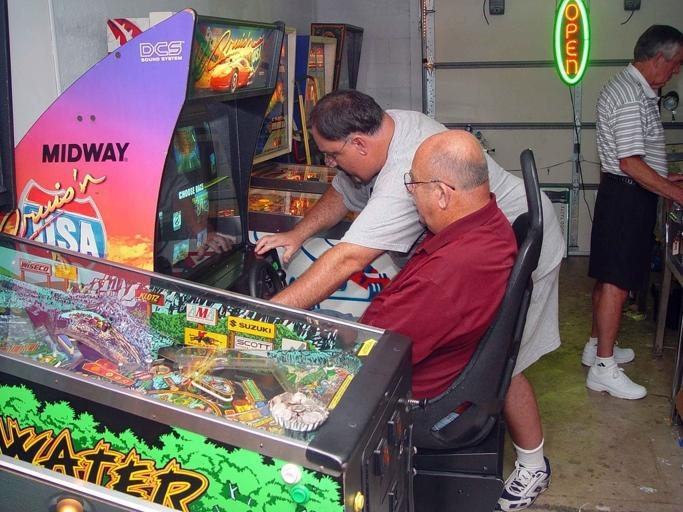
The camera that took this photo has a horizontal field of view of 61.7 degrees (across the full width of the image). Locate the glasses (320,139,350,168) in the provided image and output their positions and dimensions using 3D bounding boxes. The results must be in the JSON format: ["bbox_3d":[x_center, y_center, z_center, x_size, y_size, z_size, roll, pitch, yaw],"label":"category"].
[{"bbox_3d":[-0.027,-0.407,2.272,0.023,0.094,0.085,17,17,28],"label":"glasses"}]

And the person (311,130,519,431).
[{"bbox_3d":[0.328,0.034,1.911,0.523,0.896,0.318,-6,9,-31],"label":"person"}]

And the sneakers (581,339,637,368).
[{"bbox_3d":[1.676,0.621,3.596,0.268,0.183,0.117,-8,31,-3],"label":"sneakers"}]

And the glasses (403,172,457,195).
[{"bbox_3d":[0.287,-0.250,1.935,0.100,0.035,0.102,9,17,17],"label":"glasses"}]

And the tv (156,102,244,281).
[{"bbox_3d":[-0.703,-0.300,2.521,0.220,0.705,0.726,5,12,12],"label":"tv"}]

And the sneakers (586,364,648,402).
[{"bbox_3d":[1.610,0.735,3.357,0.317,0.169,0.158,6,28,37],"label":"sneakers"}]
